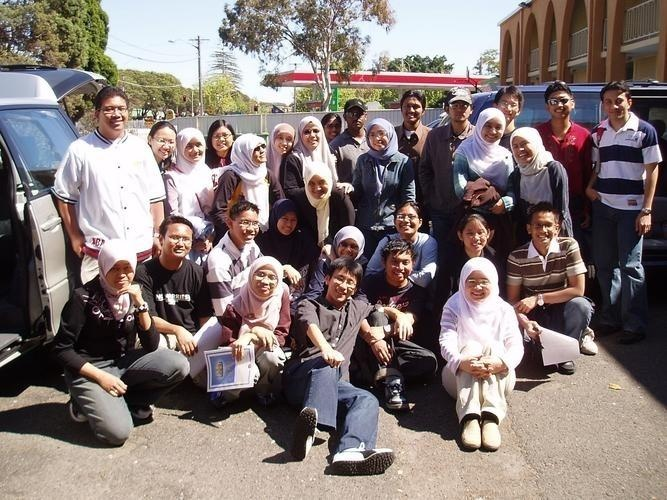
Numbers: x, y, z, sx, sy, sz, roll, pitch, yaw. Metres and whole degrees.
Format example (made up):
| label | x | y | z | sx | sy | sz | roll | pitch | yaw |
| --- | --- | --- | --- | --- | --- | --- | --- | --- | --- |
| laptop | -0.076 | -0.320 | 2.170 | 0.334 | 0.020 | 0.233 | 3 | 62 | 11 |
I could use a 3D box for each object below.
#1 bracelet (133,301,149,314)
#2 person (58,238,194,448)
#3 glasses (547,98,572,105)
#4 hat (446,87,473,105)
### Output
| label | x | y | z | sx | sy | sz | roll | pitch | yaw |
| --- | --- | --- | --- | --- | --- | --- | --- | --- | --- |
| bracelet | -1.473 | 0.444 | 3.908 | 0.083 | 0.052 | 0.076 | -19 | -6 | 39 |
| person | -1.630 | 0.665 | 3.832 | 0.685 | 1.409 | 0.707 | 13 | 22 | 38 |
| glasses | 2.358 | -1.556 | 5.370 | 0.207 | 0.073 | 0.083 | 8 | 19 | 24 |
| hat | 1.402 | -1.714 | 5.700 | 0.246 | 0.181 | 0.317 | 3 | 18 | 10 |
